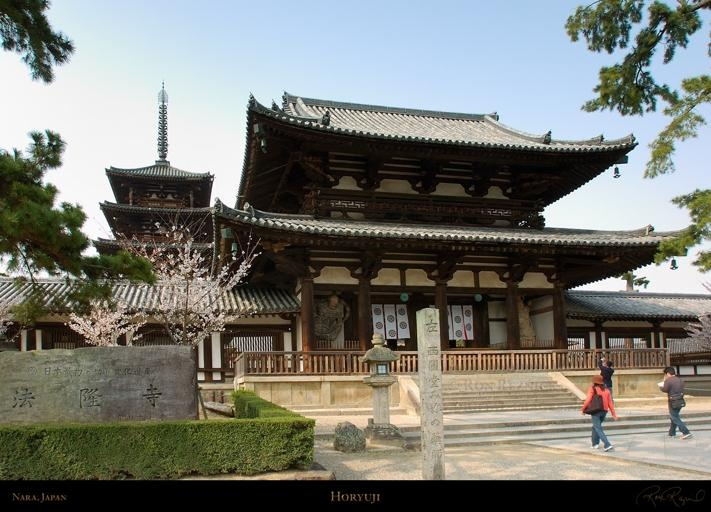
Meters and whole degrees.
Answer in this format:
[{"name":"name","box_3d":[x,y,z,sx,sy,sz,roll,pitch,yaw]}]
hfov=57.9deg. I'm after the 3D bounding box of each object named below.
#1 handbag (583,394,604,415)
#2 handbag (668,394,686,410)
[{"name":"handbag","box_3d":[5.094,3.197,13.809,0.397,0.432,0.194,-4,-13,14]},{"name":"handbag","box_3d":[7.429,3.426,14.936,0.319,0.311,0.255,-6,-13,23]}]
